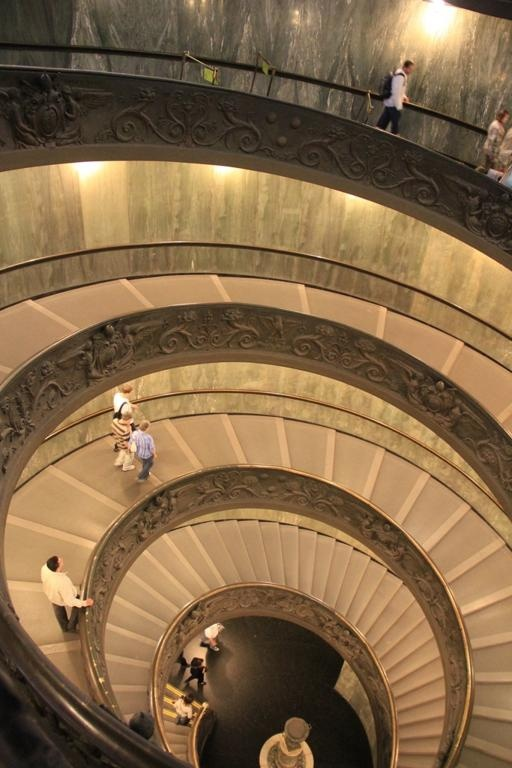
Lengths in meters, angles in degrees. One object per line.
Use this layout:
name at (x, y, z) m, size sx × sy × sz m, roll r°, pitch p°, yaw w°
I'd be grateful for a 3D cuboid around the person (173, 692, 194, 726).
person at (-1.449, 6.552, 13.471) m, size 0.334 × 0.346 × 0.957 m, roll 26°, pitch -33°, yaw 10°

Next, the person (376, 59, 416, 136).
person at (2.641, -5.291, 12.599) m, size 0.503 × 0.499 × 1.442 m, roll -21°, pitch -36°, yaw -22°

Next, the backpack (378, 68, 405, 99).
backpack at (2.454, -5.529, 12.402) m, size 0.515 × 0.353 × 0.501 m, roll 16°, pitch -43°, yaw 0°

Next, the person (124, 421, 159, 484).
person at (-2.016, 1.237, 12.104) m, size 0.474 × 0.463 × 1.169 m, roll 6°, pitch -74°, yaw 18°

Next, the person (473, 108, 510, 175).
person at (4.615, -4.700, 13.111) m, size 0.550 × 0.715 × 1.984 m, roll 0°, pitch -20°, yaw 12°
